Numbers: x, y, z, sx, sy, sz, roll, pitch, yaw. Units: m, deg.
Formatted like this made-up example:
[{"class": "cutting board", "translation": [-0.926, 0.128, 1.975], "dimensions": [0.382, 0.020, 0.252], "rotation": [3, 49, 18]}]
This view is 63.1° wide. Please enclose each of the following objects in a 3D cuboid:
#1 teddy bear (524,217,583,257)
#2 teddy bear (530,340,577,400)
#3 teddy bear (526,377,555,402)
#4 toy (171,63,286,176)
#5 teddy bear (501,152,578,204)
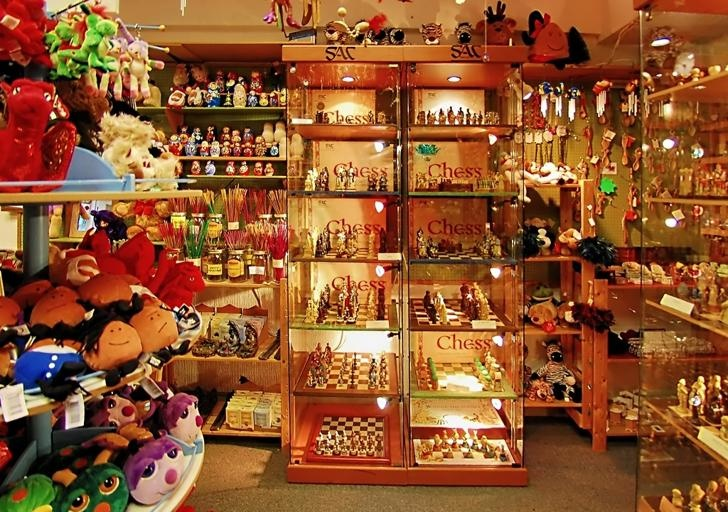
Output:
[{"class": "teddy bear", "translation": [1.333, -0.117, 4.280], "dimensions": [0.384, 0.308, 0.188], "rotation": [-4, -24, 1]}, {"class": "teddy bear", "translation": [1.385, 0.853, 4.487], "dimensions": [0.402, 0.500, 0.345], "rotation": [0, -10, 6]}, {"class": "teddy bear", "translation": [1.293, 0.982, 4.312], "dimensions": [0.156, 0.067, 0.177], "rotation": [1, 3, 10]}, {"class": "toy", "translation": [-0.987, -1.008, 4.332], "dimensions": [1.025, 0.999, 0.346], "rotation": [0, 0, -1]}, {"class": "teddy bear", "translation": [1.203, -0.566, 4.084], "dimensions": [0.437, 0.199, 0.390], "rotation": [20, 40, 5]}]
